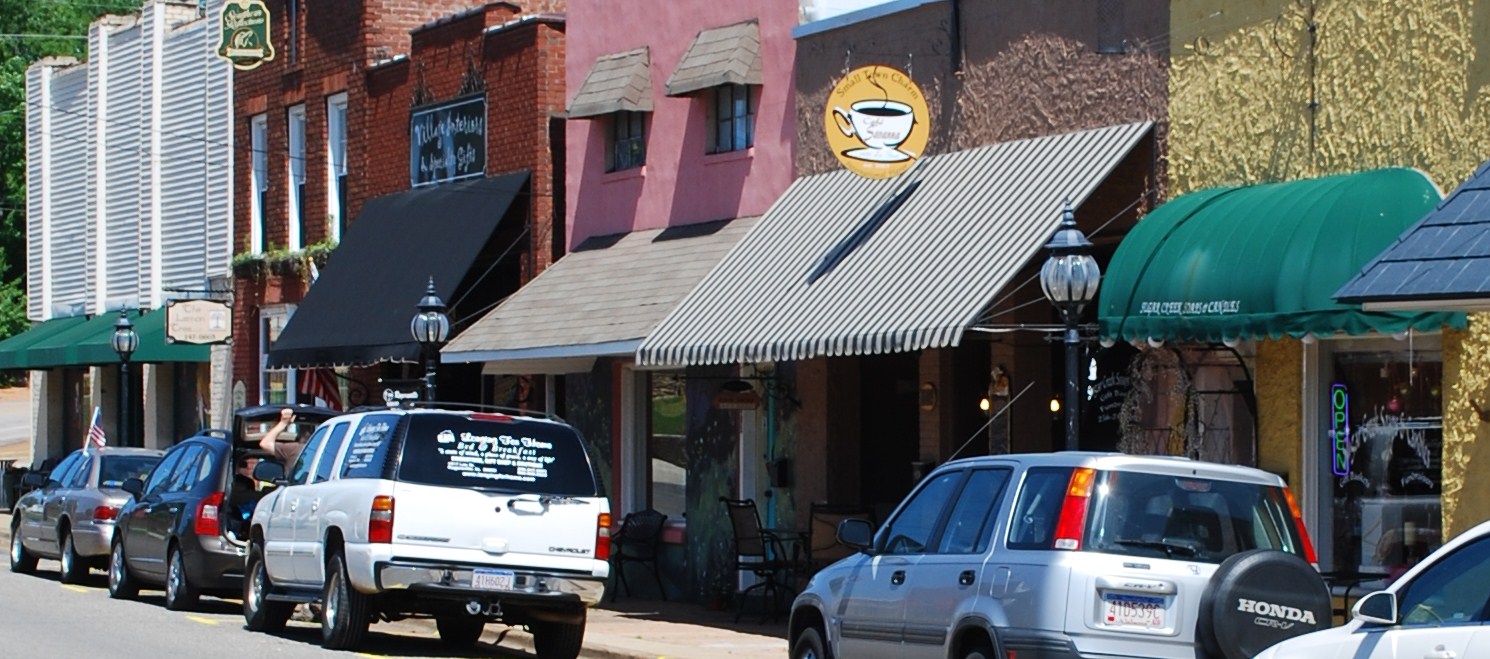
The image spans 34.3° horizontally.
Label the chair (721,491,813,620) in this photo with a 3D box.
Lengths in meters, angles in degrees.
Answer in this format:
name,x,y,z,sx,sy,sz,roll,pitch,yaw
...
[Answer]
name,x,y,z,sx,sy,sz,roll,pitch,yaw
chair,0.597,5.352,55.330,2.456,3.129,1.463,-2,-2,16
